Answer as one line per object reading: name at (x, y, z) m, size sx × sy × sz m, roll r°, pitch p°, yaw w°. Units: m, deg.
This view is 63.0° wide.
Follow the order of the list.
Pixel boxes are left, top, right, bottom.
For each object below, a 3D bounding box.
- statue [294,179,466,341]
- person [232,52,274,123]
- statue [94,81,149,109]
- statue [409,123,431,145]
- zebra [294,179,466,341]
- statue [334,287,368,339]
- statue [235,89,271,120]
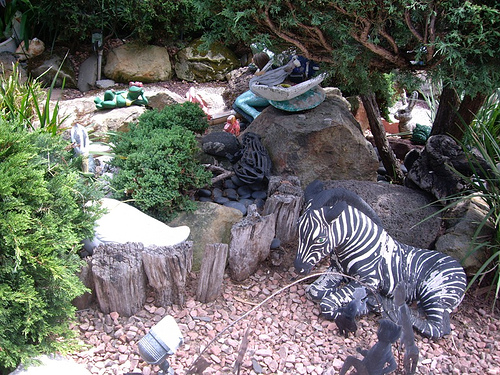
statue at (1.154, 0.629, 3.599) m, size 1.565 × 1.058 × 0.792 m, roll 10°, pitch 3°, yaw -19°
person at (0.060, -1.426, 5.950) m, size 0.522 × 1.163 × 1.203 m, roll 1°, pitch 26°, yaw -8°
statue at (-1.971, -1.400, 6.271) m, size 0.627 × 0.303 × 0.418 m, roll -7°, pitch 36°, yaw -18°
statue at (2.461, -0.751, 5.939) m, size 0.222 × 0.229 × 0.468 m, roll 15°, pitch 28°, yaw 20°
zebra at (1.157, 0.626, 3.619) m, size 1.578 × 1.064 × 0.812 m, roll 9°, pitch 7°, yaw -14°
statue at (0.802, 1.024, 3.259) m, size 0.169 × 0.448 × 0.128 m, roll 13°, pitch 23°, yaw 8°
statue at (0.043, -1.257, 6.270) m, size 0.338 × 0.315 × 0.569 m, roll -17°, pitch 34°, yaw -38°
